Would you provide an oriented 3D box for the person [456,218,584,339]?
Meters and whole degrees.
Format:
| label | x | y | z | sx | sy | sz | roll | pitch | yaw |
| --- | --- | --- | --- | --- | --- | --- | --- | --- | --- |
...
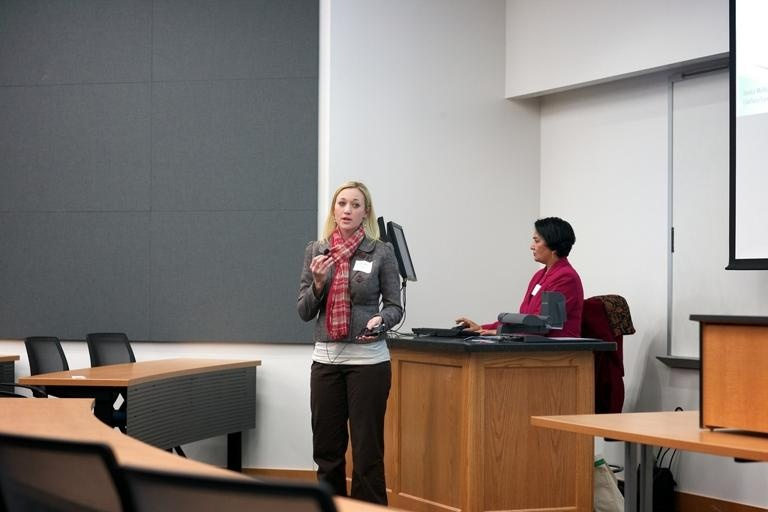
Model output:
| label | x | y | z | sx | sy | sz | roll | pitch | yaw |
| --- | --- | --- | --- | --- | --- | --- | --- | --- | --- |
| person | 1.187 | 0.135 | 4.641 | 0.302 | 0.846 | 0.440 | 1 | -4 | -40 |

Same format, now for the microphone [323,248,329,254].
| label | x | y | z | sx | sy | sz | roll | pitch | yaw |
| --- | --- | --- | --- | --- | --- | --- | --- | --- | --- |
| microphone | -0.356 | -0.036 | 3.913 | 0.030 | 0.026 | 0.032 | 1 | -9 | 2 |

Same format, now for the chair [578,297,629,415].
| label | x | y | z | sx | sy | sz | roll | pitch | yaw |
| --- | --- | --- | --- | --- | --- | --- | --- | --- | --- |
| chair | 1.657 | 0.700 | 4.805 | 0.325 | 0.840 | 0.480 | -3 | -3 | 32 |

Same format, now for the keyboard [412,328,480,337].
| label | x | y | z | sx | sy | sz | roll | pitch | yaw |
| --- | --- | --- | --- | --- | --- | --- | --- | --- | --- |
| keyboard | 0.385 | 0.487 | 4.247 | 0.443 | 0.061 | 0.193 | -5 | -5 | 37 |

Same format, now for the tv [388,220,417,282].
| label | x | y | z | sx | sy | sz | roll | pitch | yaw |
| --- | --- | --- | --- | --- | --- | --- | --- | --- | --- |
| tv | 0.124 | -0.044 | 4.686 | 0.046 | 0.344 | 0.471 | -20 | -13 | 4 |
